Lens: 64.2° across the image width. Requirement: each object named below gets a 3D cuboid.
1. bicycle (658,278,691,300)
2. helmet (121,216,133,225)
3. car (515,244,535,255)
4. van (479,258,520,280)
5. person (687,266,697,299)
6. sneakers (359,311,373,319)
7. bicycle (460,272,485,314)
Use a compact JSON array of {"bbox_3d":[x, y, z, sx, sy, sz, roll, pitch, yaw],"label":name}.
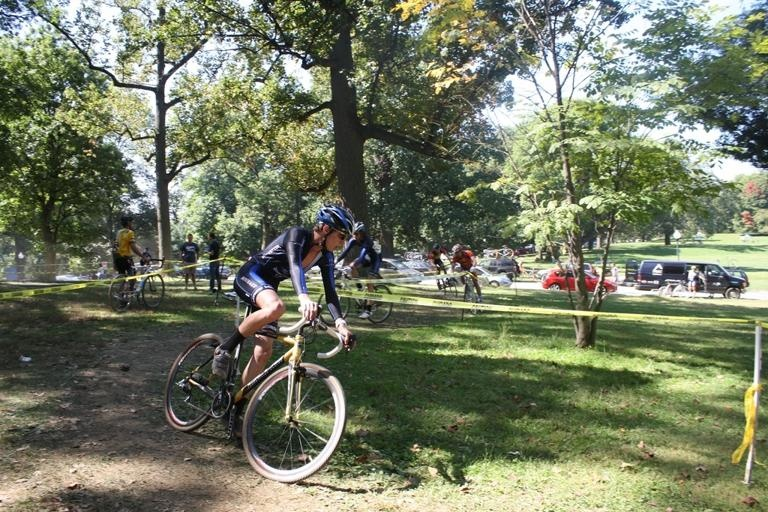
[{"bbox_3d":[16.096,1.782,35.181,2.686,1.170,1.258,0,-7,25],"label":"bicycle"},{"bbox_3d":[-7.021,-0.991,16.630,0.318,0.270,0.337,1,5,-12],"label":"helmet"},{"bbox_3d":[17.932,-1.047,77.875,2.586,0.843,1.484,-3,4,-9],"label":"car"},{"bbox_3d":[10.113,1.016,52.415,3.742,1.332,1.911,5,4,10],"label":"van"},{"bbox_3d":[17.046,1.310,33.718,0.508,1.696,1.513,2,1,26],"label":"person"},{"bbox_3d":[-0.524,1.542,16.656,0.290,0.251,0.308,0,1,-26],"label":"sneakers"},{"bbox_3d":[2.882,0.956,19.986,0.659,1.057,0.786,1,1,7],"label":"bicycle"}]
